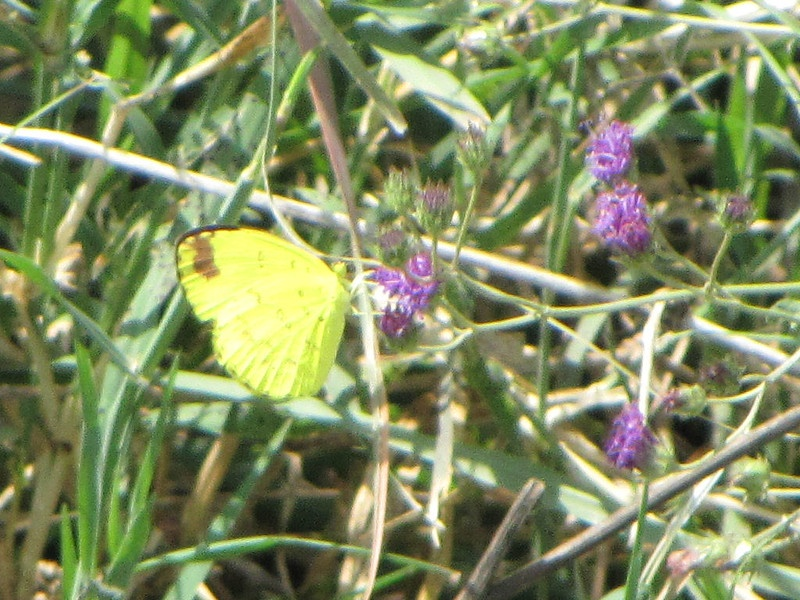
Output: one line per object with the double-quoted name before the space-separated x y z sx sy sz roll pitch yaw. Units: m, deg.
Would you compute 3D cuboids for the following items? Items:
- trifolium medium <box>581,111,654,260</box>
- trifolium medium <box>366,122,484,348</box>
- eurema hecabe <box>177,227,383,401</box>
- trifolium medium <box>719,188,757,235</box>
"trifolium medium" 0.349 -0.184 2.176 0.114 0.108 0.274 -28 42 30
"trifolium medium" 0.042 -0.097 2.181 0.165 0.333 0.181 21 29 -6
"eurema hecabe" -0.217 0.012 2.133 0.281 0.251 0.205 10 55 6
"trifolium medium" 0.503 -0.130 1.997 0.048 0.060 0.053 5 13 24
